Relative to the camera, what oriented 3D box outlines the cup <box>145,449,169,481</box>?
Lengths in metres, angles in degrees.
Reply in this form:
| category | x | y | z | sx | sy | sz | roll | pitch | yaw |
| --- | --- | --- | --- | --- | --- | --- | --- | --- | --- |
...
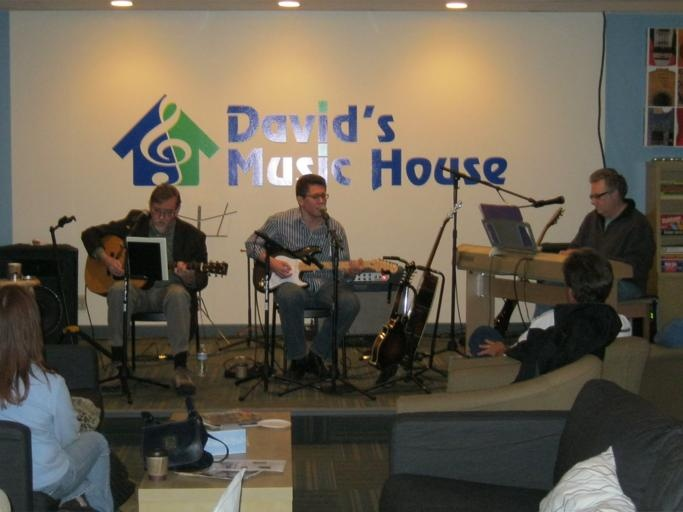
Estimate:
| category | x | y | z | sx | sy | sz | roll | pitch | yaw |
| --- | --- | --- | --- | --- | --- | --- | --- | --- | --- |
| cup | -0.820 | 0.930 | 3.248 | 0.100 | 0.132 | 0.109 | 2 | -3 | 0 |

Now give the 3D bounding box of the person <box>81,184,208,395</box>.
| category | x | y | z | sx | sy | sz | roll | pitch | yaw |
| --- | --- | --- | --- | --- | --- | --- | --- | --- | --- |
| person | -1.415 | 0.186 | 5.503 | 0.786 | 1.606 | 0.949 | 6 | -9 | -34 |

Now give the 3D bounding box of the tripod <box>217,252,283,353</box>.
| category | x | y | z | sx | sy | sz | roll | pitch | yaw |
| --- | --- | --- | --- | --- | --- | --- | --- | --- | --- |
| tripod | -0.916 | 0.307 | 6.517 | 0.579 | 1.026 | 0.596 | -8 | -20 | 11 |

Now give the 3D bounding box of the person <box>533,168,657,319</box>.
| category | x | y | z | sx | sy | sz | roll | pitch | yaw |
| --- | --- | --- | --- | --- | --- | --- | --- | --- | --- |
| person | 1.985 | 0.072 | 5.771 | 0.816 | 1.419 | 0.707 | -6 | 12 | -18 |

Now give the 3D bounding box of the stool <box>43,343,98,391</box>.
| category | x | y | z | sx | sy | sz | roll | pitch | yaw |
| --- | --- | --- | --- | --- | --- | --- | --- | --- | --- |
| stool | -1.647 | 0.647 | 4.488 | 0.310 | 0.306 | 0.331 | 1 | -6 | -3 |

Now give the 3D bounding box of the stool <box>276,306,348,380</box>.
| category | x | y | z | sx | sy | sz | roll | pitch | yaw |
| --- | --- | --- | --- | --- | --- | --- | --- | --- | --- |
| stool | -0.241 | 0.544 | 5.467 | 0.524 | 0.669 | 0.536 | 1 | 11 | -21 |

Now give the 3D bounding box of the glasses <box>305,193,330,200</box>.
| category | x | y | z | sx | sy | sz | roll | pitch | yaw |
| --- | --- | --- | --- | --- | --- | --- | --- | --- | --- |
| glasses | -0.159 | -0.447 | 5.424 | 0.103 | 0.054 | 0.221 | 0 | 6 | 30 |

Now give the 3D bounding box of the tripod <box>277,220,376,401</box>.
| category | x | y | z | sx | sy | sz | roll | pitch | yaw |
| --- | --- | --- | --- | --- | --- | --- | --- | --- | --- |
| tripod | -0.171 | 0.315 | 5.223 | 0.617 | 1.375 | 0.336 | 1 | -4 | -4 |

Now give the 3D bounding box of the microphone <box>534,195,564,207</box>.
| category | x | y | z | sx | sy | sz | roll | pitch | yaw |
| --- | --- | --- | --- | --- | --- | --- | --- | --- | --- |
| microphone | 1.803 | -0.479 | 6.363 | 0.260 | 0.082 | 0.095 | -10 | -37 | -1 |

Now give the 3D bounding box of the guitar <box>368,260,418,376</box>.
| category | x | y | z | sx | sy | sz | roll | pitch | yaw |
| --- | --- | --- | --- | --- | --- | --- | --- | --- | --- |
| guitar | 0.361 | 0.440 | 5.199 | 0.347 | 0.842 | 0.340 | -2 | 5 | 2 |

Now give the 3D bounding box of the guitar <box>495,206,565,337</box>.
| category | x | y | z | sx | sy | sz | roll | pitch | yaw |
| --- | --- | --- | --- | --- | --- | --- | --- | --- | --- |
| guitar | 1.626 | 0.025 | 6.276 | 0.177 | 1.300 | 0.588 | 18 | -13 | 4 |

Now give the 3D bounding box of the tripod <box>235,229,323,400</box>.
| category | x | y | z | sx | sy | sz | roll | pitch | yaw |
| --- | --- | --- | --- | --- | --- | --- | --- | --- | --- |
| tripod | -0.324 | 0.387 | 5.558 | 0.957 | 1.486 | 0.759 | -1 | 4 | 1 |
